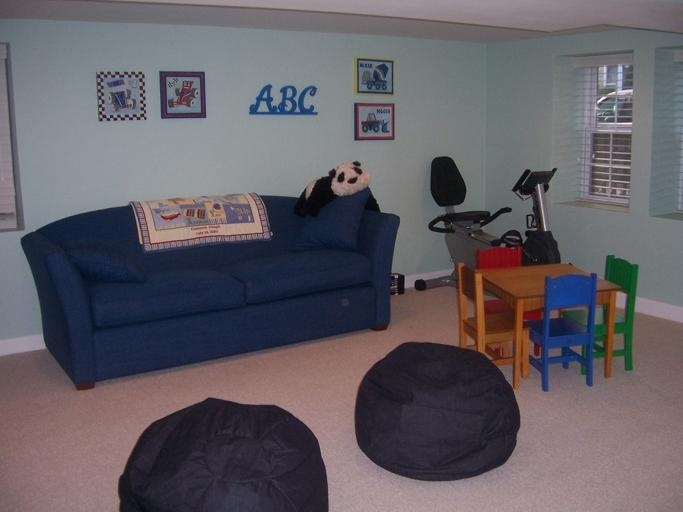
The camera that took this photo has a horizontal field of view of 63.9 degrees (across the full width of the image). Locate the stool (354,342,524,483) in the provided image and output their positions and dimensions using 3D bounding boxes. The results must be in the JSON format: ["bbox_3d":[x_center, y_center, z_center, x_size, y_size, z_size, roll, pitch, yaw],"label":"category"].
[{"bbox_3d":[0.530,0.881,3.038,0.846,0.526,0.447,1,15,16],"label":"stool"}]

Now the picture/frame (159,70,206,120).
[{"bbox_3d":[-1.405,-1.421,4.794,0.411,0.419,0.040,-7,16,-31],"label":"picture/frame"}]

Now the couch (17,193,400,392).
[{"bbox_3d":[-1.008,0.133,4.674,2.953,1.138,1.072,-9,16,-35],"label":"couch"}]

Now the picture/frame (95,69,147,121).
[{"bbox_3d":[-1.866,-1.361,4.601,0.408,0.426,0.041,-8,16,-30],"label":"picture/frame"}]

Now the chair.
[{"bbox_3d":[1.312,0.370,3.899,0.972,0.754,0.949,-3,9,-14],"label":"chair"}]

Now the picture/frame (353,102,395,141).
[{"bbox_3d":[0.312,-1.384,5.610,0.393,0.298,0.041,-5,13,-26],"label":"picture/frame"}]
